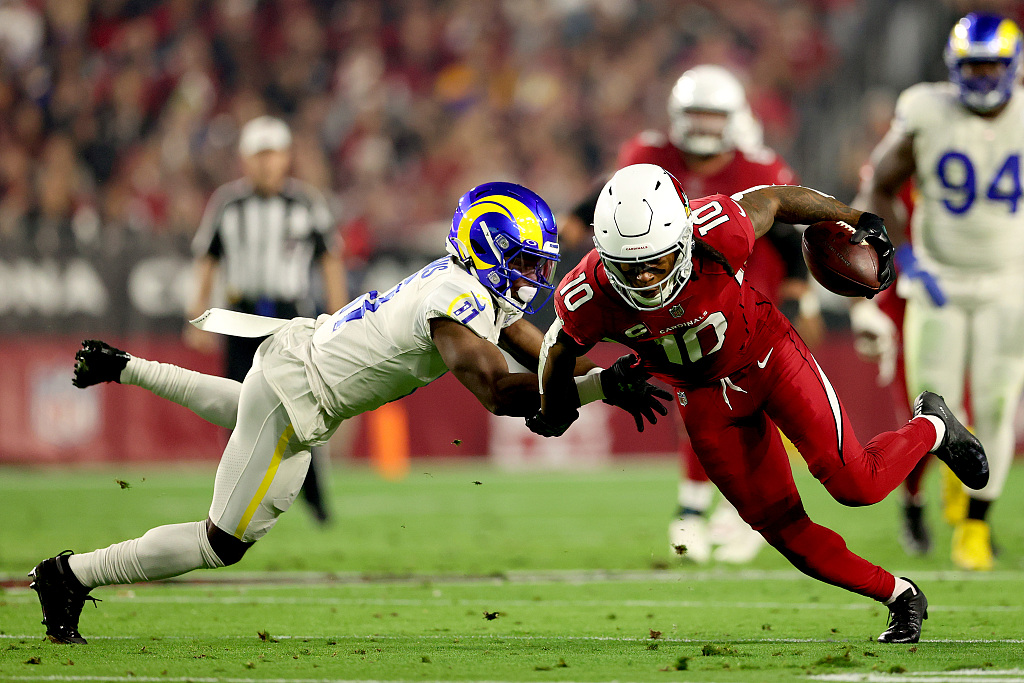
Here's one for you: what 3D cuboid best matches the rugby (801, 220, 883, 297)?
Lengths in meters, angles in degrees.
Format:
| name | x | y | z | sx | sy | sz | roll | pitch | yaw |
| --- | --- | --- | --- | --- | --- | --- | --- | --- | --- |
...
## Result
| name | x | y | z | sx | sy | sz | roll | pitch | yaw |
| --- | --- | --- | --- | --- | --- | --- | --- | --- | --- |
| rugby | 1.528 | -0.368 | 6.515 | 0.379 | 0.266 | 0.235 | 37 | 37 | 4 |

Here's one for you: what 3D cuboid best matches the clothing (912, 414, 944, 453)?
| name | x | y | z | sx | sy | sz | roll | pitch | yaw |
| --- | --- | --- | --- | --- | --- | --- | --- | --- | --- |
| clothing | 2.040 | 0.447 | 6.824 | 0.145 | 0.176 | 0.118 | 1 | -4 | 26 |

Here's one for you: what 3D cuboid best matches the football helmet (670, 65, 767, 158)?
| name | x | y | z | sx | sy | sz | roll | pitch | yaw |
| --- | --- | --- | --- | --- | --- | --- | --- | --- | --- |
| football helmet | 1.288 | -1.413 | 8.859 | 0.486 | 0.585 | 0.706 | 1 | -4 | 2 |

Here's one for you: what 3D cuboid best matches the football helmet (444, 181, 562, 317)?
| name | x | y | z | sx | sy | sz | roll | pitch | yaw |
| --- | --- | --- | --- | --- | --- | --- | --- | --- | --- |
| football helmet | 0.018 | -0.479 | 6.755 | 0.613 | 0.626 | 0.481 | 18 | 12 | 12 |

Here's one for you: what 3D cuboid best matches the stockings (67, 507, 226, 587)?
| name | x | y | z | sx | sy | sz | roll | pitch | yaw |
| --- | --- | --- | --- | --- | --- | --- | --- | --- | --- |
| stockings | -1.751 | 1.052 | 6.718 | 0.760 | 0.262 | 0.244 | -16 | 3 | 22 |

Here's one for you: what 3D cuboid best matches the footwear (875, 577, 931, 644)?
| name | x | y | z | sx | sy | sz | roll | pitch | yaw |
| --- | --- | --- | --- | --- | --- | --- | --- | --- | --- |
| footwear | 1.870 | 1.246 | 6.613 | 0.136 | 0.203 | 0.412 | -13 | 20 | 37 |

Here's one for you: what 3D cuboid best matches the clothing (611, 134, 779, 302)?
| name | x | y | z | sx | sy | sz | roll | pitch | yaw |
| --- | --- | --- | --- | --- | --- | --- | --- | --- | --- |
| clothing | 0.917 | -0.613 | 6.920 | 0.968 | 0.965 | 0.530 | -1 | 41 | 9 |

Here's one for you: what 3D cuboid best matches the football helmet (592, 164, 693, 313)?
| name | x | y | z | sx | sy | sz | roll | pitch | yaw |
| --- | --- | --- | --- | --- | --- | --- | --- | --- | --- |
| football helmet | 0.631 | -0.452 | 6.264 | 0.426 | 0.609 | 0.511 | -4 | -41 | 20 |

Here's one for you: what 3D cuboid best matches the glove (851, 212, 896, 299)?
| name | x | y | z | sx | sy | sz | roll | pitch | yaw |
| --- | --- | --- | --- | --- | --- | --- | --- | --- | --- |
| glove | 1.628 | -0.401 | 6.448 | 0.111 | 0.336 | 0.251 | -18 | -29 | 3 |

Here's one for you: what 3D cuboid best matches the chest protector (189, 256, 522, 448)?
| name | x | y | z | sx | sy | sz | roll | pitch | yaw |
| --- | --- | --- | --- | --- | --- | --- | --- | --- | --- |
| chest protector | -0.641 | 0.047 | 6.590 | 1.192 | 0.865 | 0.323 | 0 | 3 | 16 |

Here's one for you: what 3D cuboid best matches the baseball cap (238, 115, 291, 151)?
| name | x | y | z | sx | sy | sz | roll | pitch | yaw |
| --- | --- | --- | --- | --- | --- | --- | --- | --- | --- |
| baseball cap | -1.659 | -1.381 | 9.374 | 0.297 | 0.276 | 0.472 | -1 | 3 | -15 |

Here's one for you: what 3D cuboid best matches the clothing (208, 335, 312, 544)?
| name | x | y | z | sx | sy | sz | roll | pitch | yaw |
| --- | --- | --- | --- | --- | --- | --- | --- | --- | --- |
| clothing | -1.153 | 0.512 | 6.794 | 0.410 | 0.798 | 0.562 | 27 | 20 | 6 |

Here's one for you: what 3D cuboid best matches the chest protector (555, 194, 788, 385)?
| name | x | y | z | sx | sy | sz | roll | pitch | yaw |
| --- | --- | --- | --- | --- | --- | --- | --- | --- | --- |
| chest protector | 0.780 | -0.163 | 6.396 | 0.733 | 0.465 | 1.006 | -11 | -38 | 27 |

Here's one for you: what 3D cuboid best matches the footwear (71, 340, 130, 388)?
| name | x | y | z | sx | sy | sz | roll | pitch | yaw |
| --- | --- | --- | --- | --- | --- | --- | --- | --- | --- |
| footwear | -2.023 | 0.106 | 6.841 | 0.254 | 0.218 | 0.149 | 9 | 3 | -7 |

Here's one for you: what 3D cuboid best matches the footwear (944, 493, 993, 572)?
| name | x | y | z | sx | sy | sz | roll | pitch | yaw |
| --- | --- | --- | --- | --- | --- | --- | --- | --- | --- |
| footwear | 2.772 | 1.216 | 8.333 | 0.208 | 0.292 | 0.652 | -2 | 8 | 17 |

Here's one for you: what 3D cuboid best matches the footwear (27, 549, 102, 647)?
| name | x | y | z | sx | sy | sz | roll | pitch | yaw |
| --- | --- | --- | --- | --- | --- | --- | --- | --- | --- |
| footwear | -2.119 | 1.211 | 6.617 | 0.288 | 0.407 | 0.193 | 2 | 4 | 36 |

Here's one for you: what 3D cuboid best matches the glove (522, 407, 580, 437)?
| name | x | y | z | sx | sy | sz | roll | pitch | yaw |
| --- | --- | --- | --- | --- | --- | --- | --- | --- | --- |
| glove | 0.183 | 0.361 | 6.342 | 0.141 | 0.074 | 0.181 | -10 | 0 | -39 |
